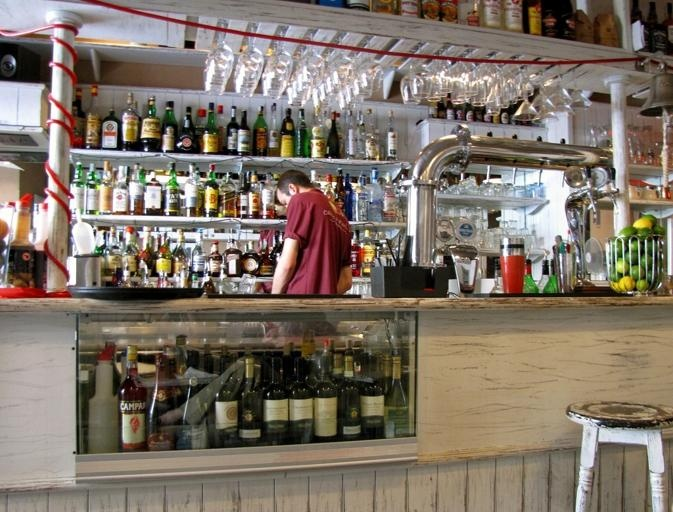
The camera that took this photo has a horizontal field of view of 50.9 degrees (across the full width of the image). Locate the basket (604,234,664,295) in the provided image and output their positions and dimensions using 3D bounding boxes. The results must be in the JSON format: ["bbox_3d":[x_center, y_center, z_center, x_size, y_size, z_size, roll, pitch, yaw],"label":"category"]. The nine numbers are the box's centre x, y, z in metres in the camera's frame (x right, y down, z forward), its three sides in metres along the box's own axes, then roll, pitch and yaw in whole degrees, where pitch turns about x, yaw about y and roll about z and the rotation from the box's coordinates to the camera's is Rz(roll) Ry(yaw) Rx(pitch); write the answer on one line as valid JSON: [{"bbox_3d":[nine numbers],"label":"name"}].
[{"bbox_3d":[1.187,0.038,2.812,0.266,0.223,0.236,3,-8,-3],"label":"basket"}]

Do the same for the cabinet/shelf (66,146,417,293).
[{"bbox_3d":[-0.858,-0.386,4.438,2.677,0.494,0.354,1,-11,8],"label":"cabinet/shelf"}]

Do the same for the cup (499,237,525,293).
[{"bbox_3d":[0.749,0.043,2.935,0.130,0.228,0.113,-3,2,-4],"label":"cup"}]

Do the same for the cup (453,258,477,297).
[{"bbox_3d":[0.521,0.078,2.813,0.092,0.146,0.108,-3,-4,10],"label":"cup"}]
